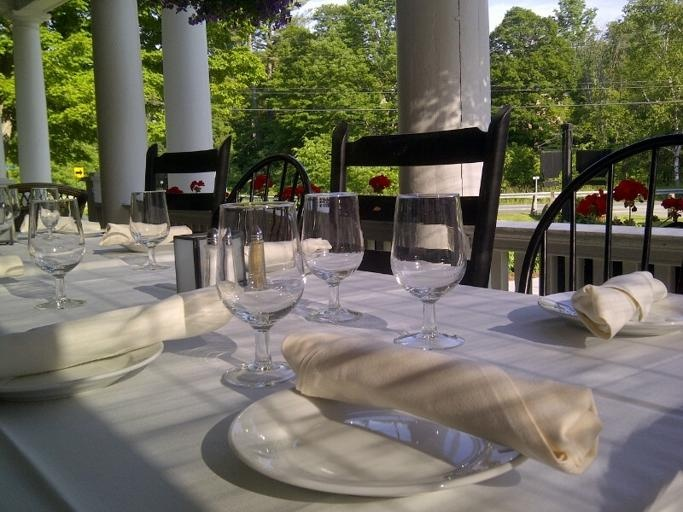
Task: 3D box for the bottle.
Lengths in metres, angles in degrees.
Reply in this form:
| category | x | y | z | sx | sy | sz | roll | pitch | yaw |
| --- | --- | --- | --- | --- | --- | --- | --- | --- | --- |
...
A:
| category | x | y | z | sx | sy | sz | roll | pitch | yaw |
| --- | --- | --- | --- | --- | --- | --- | --- | --- | --- |
| bottle | -0.126 | 0.001 | 0.682 | 0.065 | 0.132 | 0.072 | 1 | 5 | -7 |
